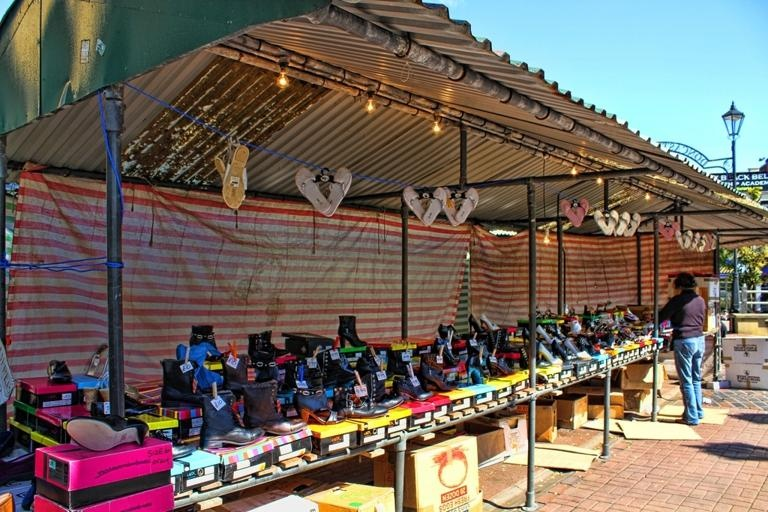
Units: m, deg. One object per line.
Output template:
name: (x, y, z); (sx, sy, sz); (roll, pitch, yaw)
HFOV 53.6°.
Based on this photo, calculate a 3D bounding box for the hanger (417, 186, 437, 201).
hanger: (0.538, -0.776, 9.504); (0.282, 0.124, 0.357); (-1, -8, 2)

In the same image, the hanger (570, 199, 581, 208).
hanger: (2.670, -0.706, 10.508); (0.191, 0.064, 0.183); (0, -17, 11)

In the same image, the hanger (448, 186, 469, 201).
hanger: (0.906, -0.765, 9.249); (0.233, 0.104, 0.283); (0, -5, 4)

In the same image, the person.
person: (4.711, 1.445, 12.060); (0.723, 2.299, 0.728); (-4, -6, 40)
